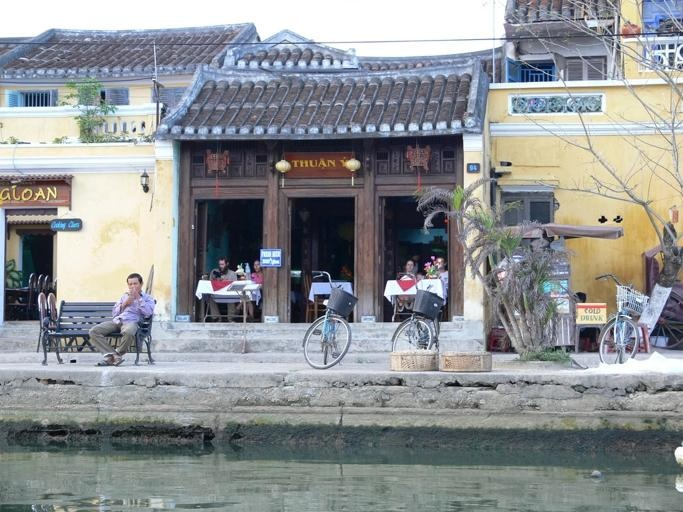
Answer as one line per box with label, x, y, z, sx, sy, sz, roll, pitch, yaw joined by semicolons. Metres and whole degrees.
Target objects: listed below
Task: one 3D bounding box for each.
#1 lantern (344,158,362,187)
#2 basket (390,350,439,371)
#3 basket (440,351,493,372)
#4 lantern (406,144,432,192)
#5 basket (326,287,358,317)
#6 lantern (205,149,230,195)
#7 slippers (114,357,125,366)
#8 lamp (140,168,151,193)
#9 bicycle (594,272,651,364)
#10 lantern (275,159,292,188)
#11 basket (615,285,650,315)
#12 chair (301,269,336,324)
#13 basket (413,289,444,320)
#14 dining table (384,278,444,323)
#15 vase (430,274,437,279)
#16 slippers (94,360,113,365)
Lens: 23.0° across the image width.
lantern;0.207;-1.694;33.876;0.365;0.568;0.381;-1;-2;1
basket;1.261;1.860;29.375;0.821;0.353;0.408;-2;-2;4
basket;2.152;1.868;29.190;0.857;0.351;0.315;-1;-2;0
lantern;1.533;-1.804;33.711;0.499;0.929;0.275;-1;-2;2
basket;-0.016;0.782;30.688;0.545;0.420;0.475;33;-12;-29
lantern;-2.529;-1.708;34.206;0.490;0.920;0.218;-1;-2;-5
slippers;-4.023;1.935;30.312;0.121;0.181;0.407;1;5;-5
lamp;-4.054;-1.524;34.604;0.178;0.431;0.283;-1;-2;2
bicycle;5.136;1.146;30.636;0.890;1.602;0.795;-1;2;33
lantern;-1.191;-1.688;34.028;0.322;0.575;0.325;-1;-2;2
basket;5.289;0.868;30.892;0.644;0.430;0.430;29;-11;-41
chair;-0.585;0.910;36.184;0.533;1.218;0.618;1;3;-27
basket;1.551;0.915;30.947;0.487;0.474;0.575;13;-20;44
dining table;1.390;1.008;33.306;1.002;0.736;0.795;-1;-6;10
vase;1.816;0.421;33.480;0.095;0.072;0.097;0;1;34
slippers;-4.258;1.963;30.260;0.245;0.112;0.140;3;-2;7
